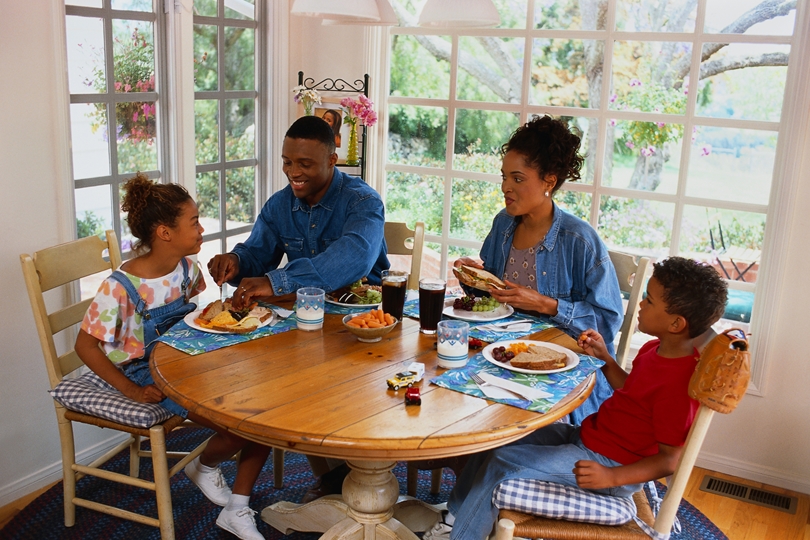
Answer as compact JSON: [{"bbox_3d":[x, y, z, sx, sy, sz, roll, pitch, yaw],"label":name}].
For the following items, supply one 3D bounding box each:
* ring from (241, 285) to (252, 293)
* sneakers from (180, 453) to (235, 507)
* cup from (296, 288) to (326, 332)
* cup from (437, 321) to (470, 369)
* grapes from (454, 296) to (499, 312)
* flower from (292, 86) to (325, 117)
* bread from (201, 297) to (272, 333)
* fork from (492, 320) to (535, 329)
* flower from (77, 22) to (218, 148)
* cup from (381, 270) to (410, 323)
[{"bbox_3d":[-0.622,0.074,2.205,0.016,0.017,0.032,-11,22,11],"label":"ring"},{"bbox_3d":[-0.756,0.856,2.291,0.091,0.079,0.195,-18,41,-22],"label":"sneakers"},{"bbox_3d":[-0.338,0.159,2.114,0.115,0.124,0.117,1,2,0],"label":"cup"},{"bbox_3d":[0.154,0.240,1.834,0.140,0.153,0.141,0,7,0],"label":"cup"},{"bbox_3d":[0.290,0.128,2.267,0.112,0.036,0.080,1,6,-4],"label":"grapes"},{"bbox_3d":[-0.627,-1.092,3.665,0.179,0.182,0.324,-2,14,-11],"label":"flower"},{"bbox_3d":[-0.637,0.177,2.084,0.156,0.036,0.151,9,19,13],"label":"bread"},{"bbox_3d":[0.422,0.211,2.178,0.085,0.020,0.055,0,5,-23],"label":"fork"},{"bbox_3d":[-1.453,-1.013,3.117,0.555,0.754,0.625,14,14,34],"label":"flower"},{"bbox_3d":[-0.038,0.101,2.163,0.142,0.154,0.137,3,-2,0],"label":"cup"}]
